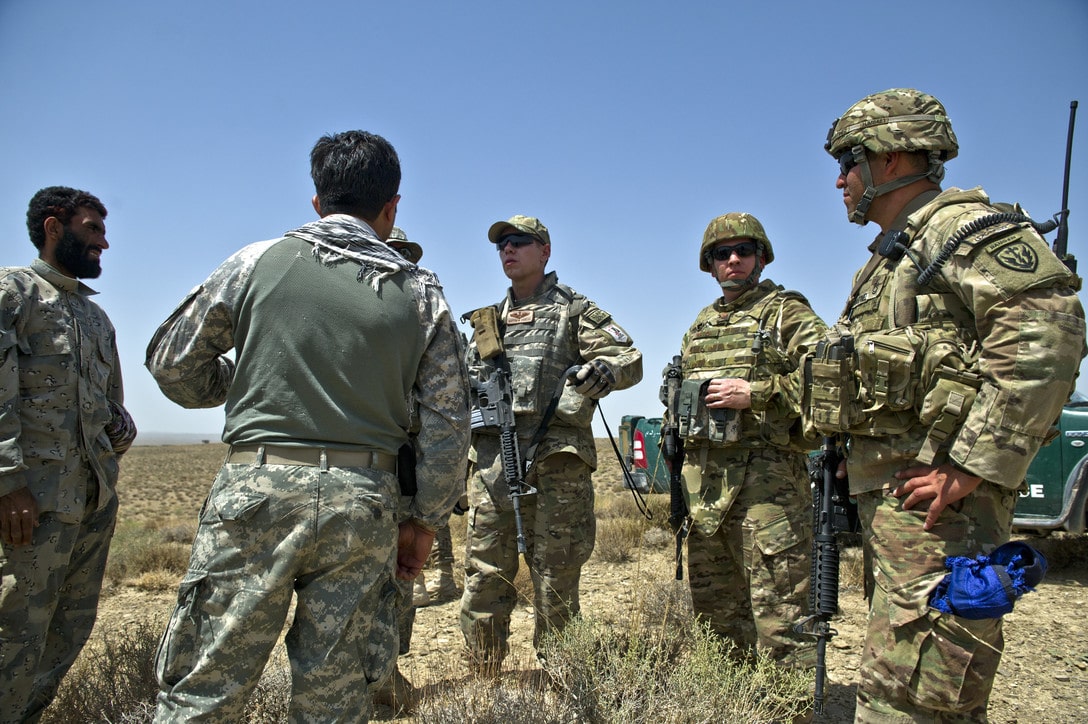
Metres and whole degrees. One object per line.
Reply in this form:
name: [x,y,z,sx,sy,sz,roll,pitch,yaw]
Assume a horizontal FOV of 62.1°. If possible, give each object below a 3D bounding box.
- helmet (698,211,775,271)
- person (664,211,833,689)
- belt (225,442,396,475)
helmet: [1.503,-0.959,7.043,0.533,0.335,0.536,-4,-9,6]
person: [1.473,0.493,6.650,1.142,3.267,0.656,-2,-5,32]
belt: [-1.204,0.493,4.681,0.828,0.137,0.218,2,-4,-17]
